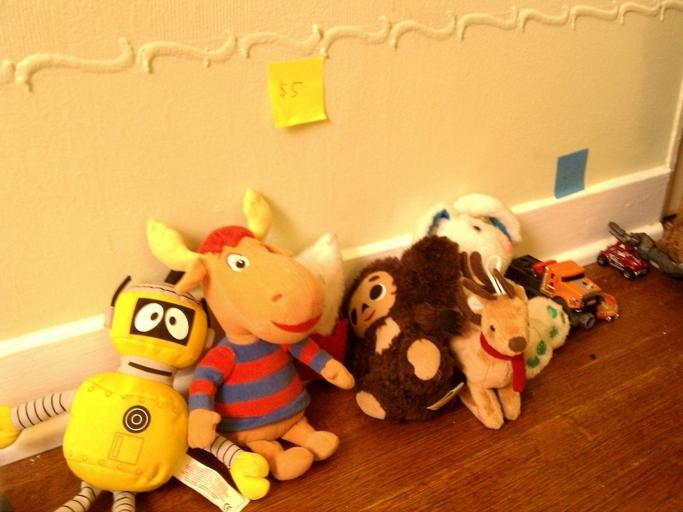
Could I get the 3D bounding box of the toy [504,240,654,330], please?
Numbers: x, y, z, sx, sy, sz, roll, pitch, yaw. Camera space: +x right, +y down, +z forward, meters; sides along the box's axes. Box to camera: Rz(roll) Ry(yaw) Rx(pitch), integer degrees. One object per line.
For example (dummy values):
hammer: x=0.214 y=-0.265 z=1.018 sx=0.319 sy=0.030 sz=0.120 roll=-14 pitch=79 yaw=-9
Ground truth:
toy: x=0.657 y=0.105 z=1.540 sx=0.209 sy=0.138 sz=0.401 roll=-16 pitch=31 yaw=-19
